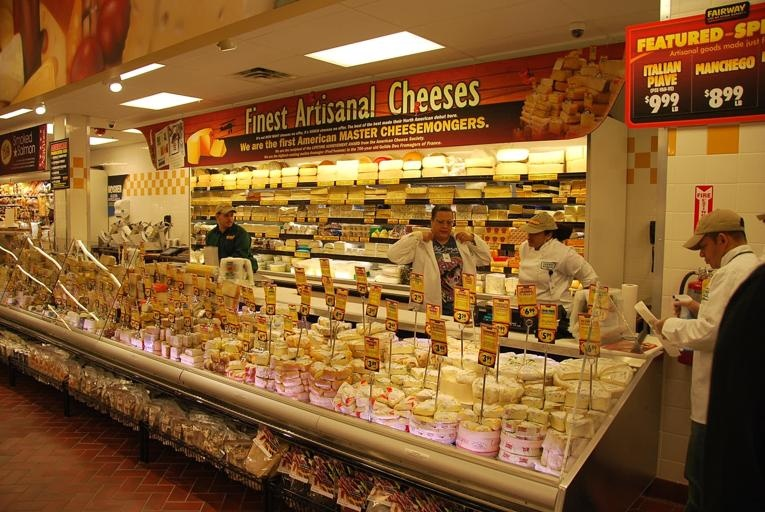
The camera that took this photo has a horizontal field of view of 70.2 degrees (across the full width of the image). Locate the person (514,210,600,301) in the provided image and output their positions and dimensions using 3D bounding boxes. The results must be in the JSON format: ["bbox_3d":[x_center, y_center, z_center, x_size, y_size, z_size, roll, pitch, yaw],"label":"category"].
[{"bbox_3d":[1.705,0.006,5.187,0.556,1.382,0.894,-4,4,-14],"label":"person"}]

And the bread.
[{"bbox_3d":[-0.737,0.790,4.037,0.674,0.294,0.648,3,3,-24],"label":"bread"}]

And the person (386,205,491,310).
[{"bbox_3d":[0.610,-0.017,5.775,0.664,1.624,0.601,0,2,11],"label":"person"}]

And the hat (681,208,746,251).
[{"bbox_3d":[2.237,-0.184,3.697,0.373,0.213,0.244,-2,1,37],"label":"hat"}]

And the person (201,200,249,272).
[{"bbox_3d":[-1.834,-0.202,6.491,0.445,0.880,0.421,12,13,31],"label":"person"}]
